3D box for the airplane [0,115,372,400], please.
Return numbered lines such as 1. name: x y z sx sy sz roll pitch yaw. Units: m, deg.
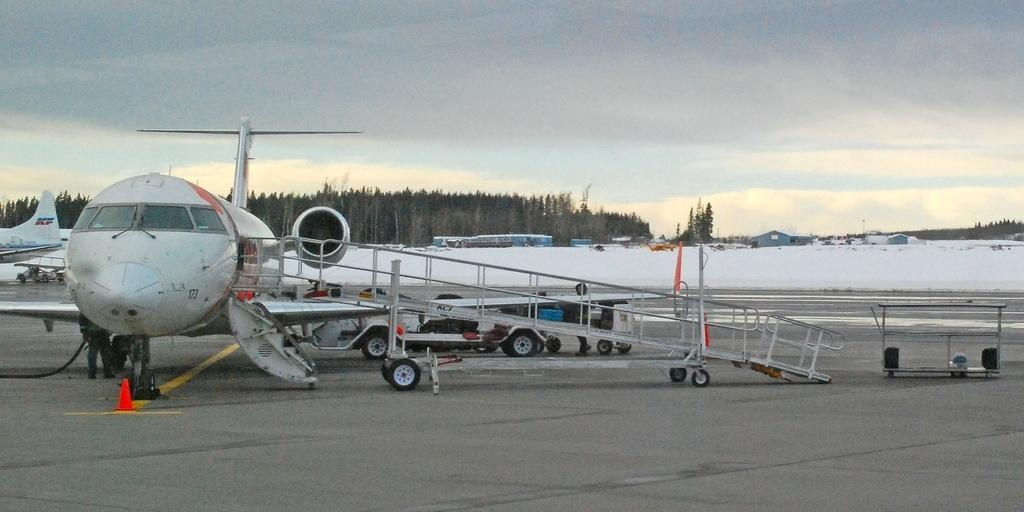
1. airplane: -14.173 0.622 58.141 17.023 7.645 14.598 0 0 -2
